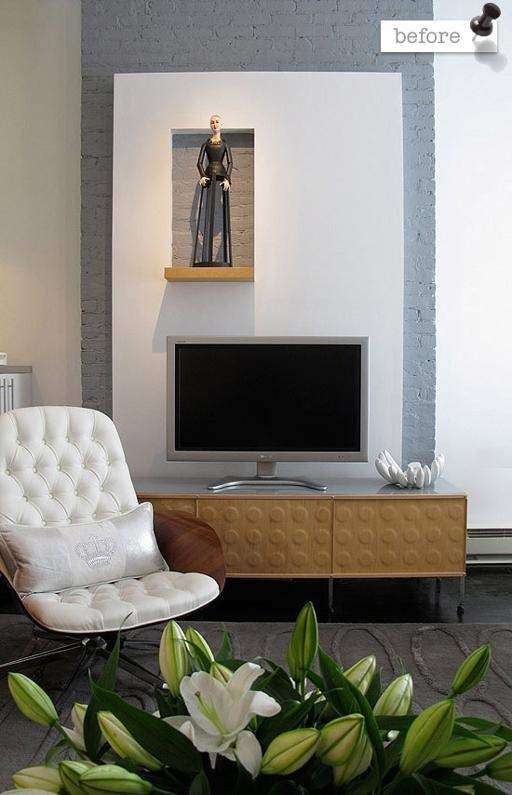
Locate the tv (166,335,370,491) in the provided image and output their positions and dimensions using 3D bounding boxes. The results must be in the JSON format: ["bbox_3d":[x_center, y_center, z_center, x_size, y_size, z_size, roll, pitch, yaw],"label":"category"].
[{"bbox_3d":[0.049,0.043,2.970,0.615,0.508,0.186,0,0,2],"label":"tv"}]

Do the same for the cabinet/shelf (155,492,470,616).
[{"bbox_3d":[0.247,0.610,2.916,1.221,0.450,0.322,-3,-1,12],"label":"cabinet/shelf"}]
